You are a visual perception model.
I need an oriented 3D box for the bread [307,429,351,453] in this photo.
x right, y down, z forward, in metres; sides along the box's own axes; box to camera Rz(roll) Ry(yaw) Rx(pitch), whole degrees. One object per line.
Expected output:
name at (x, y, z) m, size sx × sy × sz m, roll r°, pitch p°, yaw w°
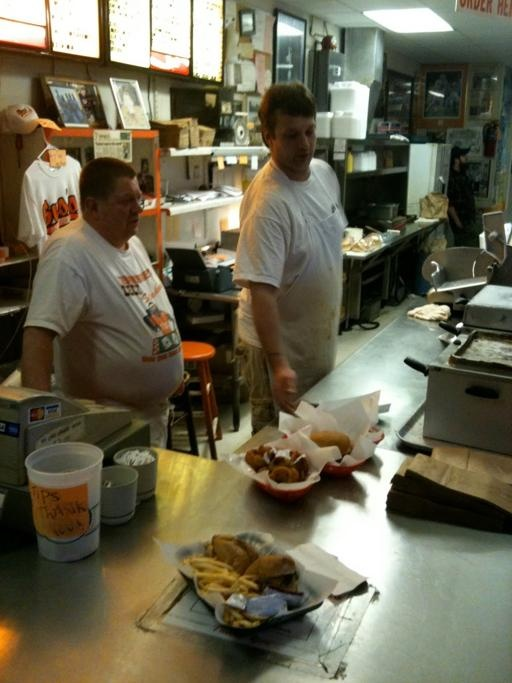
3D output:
bread at (0.177, 0.226, 1.263) m, size 0.068 × 0.034 × 0.058 m, roll 13°, pitch -2°, yaw -42°

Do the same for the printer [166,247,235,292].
printer at (-0.385, -0.529, 3.961) m, size 0.346 × 0.284 × 0.428 m, roll 7°, pitch 17°, yaw 25°

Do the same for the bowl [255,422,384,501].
bowl at (0.127, 0.247, 1.207) m, size 0.154 × 0.040 × 0.203 m, roll 6°, pitch 11°, yaw 39°

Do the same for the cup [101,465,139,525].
cup at (-0.261, 0.299, 1.100) m, size 0.097 × 0.086 × 0.105 m, roll 2°, pitch 9°, yaw 0°

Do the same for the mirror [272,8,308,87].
mirror at (0.333, -2.877, 5.436) m, size 0.157 × 0.720 × 0.834 m, roll 4°, pitch 14°, yaw 16°

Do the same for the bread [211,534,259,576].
bread at (-0.026, 0.344, 0.897) m, size 0.044 × 0.020 × 0.058 m, roll -15°, pitch 28°, yaw -43°

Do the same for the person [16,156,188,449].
person at (-0.566, -0.066, 1.905) m, size 0.315 × 1.108 × 0.705 m, roll 10°, pitch 17°, yaw 34°

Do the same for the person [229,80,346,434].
person at (0.108, -0.302, 1.903) m, size 0.384 × 1.116 × 0.871 m, roll 2°, pitch 14°, yaw 8°

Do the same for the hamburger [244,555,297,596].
hamburger at (0.021, 0.350, 0.830) m, size 0.082 × 0.045 × 0.046 m, roll 3°, pitch 14°, yaw 12°

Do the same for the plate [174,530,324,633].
plate at (-0.006, 0.347, 0.836) m, size 0.116 × 0.042 × 0.150 m, roll -7°, pitch 12°, yaw -25°

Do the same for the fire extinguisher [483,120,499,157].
fire extinguisher at (4.442, -3.857, 10.489) m, size 0.271 × 0.667 × 0.166 m, roll 5°, pitch 15°, yaw 20°

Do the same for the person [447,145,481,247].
person at (3.256, -2.289, 8.723) m, size 0.479 × 1.561 × 1.195 m, roll 8°, pitch 16°, yaw 29°
